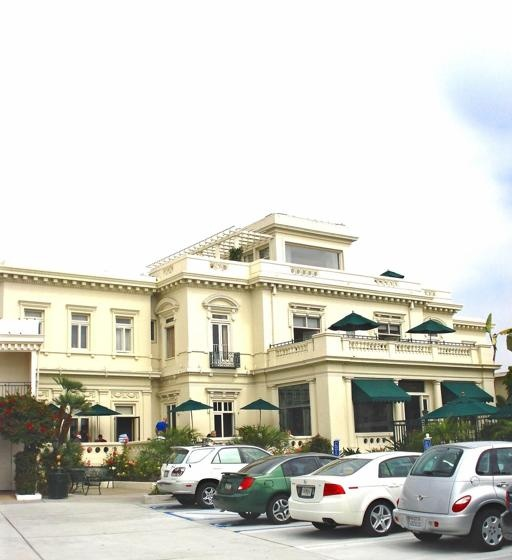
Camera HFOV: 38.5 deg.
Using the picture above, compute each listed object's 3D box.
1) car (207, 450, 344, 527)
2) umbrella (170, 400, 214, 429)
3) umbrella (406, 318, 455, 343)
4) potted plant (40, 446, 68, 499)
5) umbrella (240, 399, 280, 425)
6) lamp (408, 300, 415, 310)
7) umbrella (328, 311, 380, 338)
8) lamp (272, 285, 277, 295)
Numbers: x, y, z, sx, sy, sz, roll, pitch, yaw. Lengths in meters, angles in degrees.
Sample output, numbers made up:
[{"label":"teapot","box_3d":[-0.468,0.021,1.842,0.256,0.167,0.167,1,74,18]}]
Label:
[{"label":"car","box_3d":[0.552,4.525,16.059,3.013,0.857,1.279,2,-9,-30]},{"label":"umbrella","box_3d":[-3.072,6.319,34.733,1.820,1.060,1.686,2,-11,-17]},{"label":"umbrella","box_3d":[9.251,2.562,39.243,2.180,0.853,1.851,-1,-14,0]},{"label":"potted plant","box_3d":[-6.609,6.254,23.840,0.800,1.649,2.415,2,-14,-17]},{"label":"umbrella","box_3d":[0.215,6.281,35.478,1.898,1.068,1.695,2,-10,-6]},{"label":"lamp","box_3d":[9.375,1.536,43.915,0.588,0.472,0.282,10,-20,-42]},{"label":"umbrella","box_3d":[4.856,2.215,36.447,1.799,0.691,1.510,-2,-15,-3]},{"label":"lamp","box_3d":[0.928,0.533,39.048,0.310,0.474,0.435,-3,-14,0]}]
